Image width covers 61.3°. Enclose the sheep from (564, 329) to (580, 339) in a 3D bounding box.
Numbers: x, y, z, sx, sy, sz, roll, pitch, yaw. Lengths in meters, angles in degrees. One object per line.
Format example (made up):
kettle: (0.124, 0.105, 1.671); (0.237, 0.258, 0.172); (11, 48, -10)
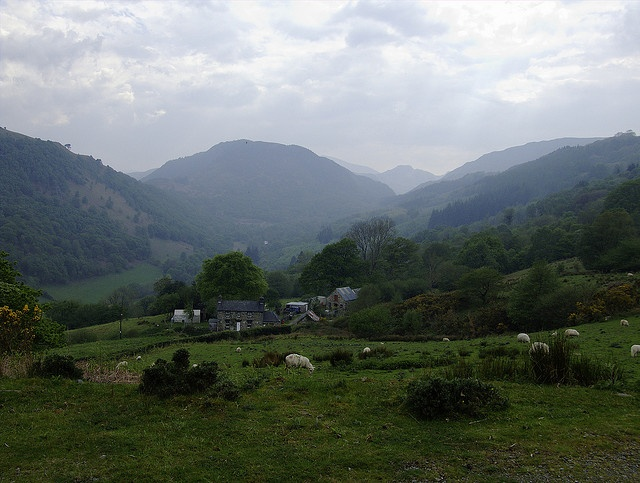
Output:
sheep: (21.746, 8.005, 46.910); (1.760, 0.926, 0.571); (1, 1, -30)
